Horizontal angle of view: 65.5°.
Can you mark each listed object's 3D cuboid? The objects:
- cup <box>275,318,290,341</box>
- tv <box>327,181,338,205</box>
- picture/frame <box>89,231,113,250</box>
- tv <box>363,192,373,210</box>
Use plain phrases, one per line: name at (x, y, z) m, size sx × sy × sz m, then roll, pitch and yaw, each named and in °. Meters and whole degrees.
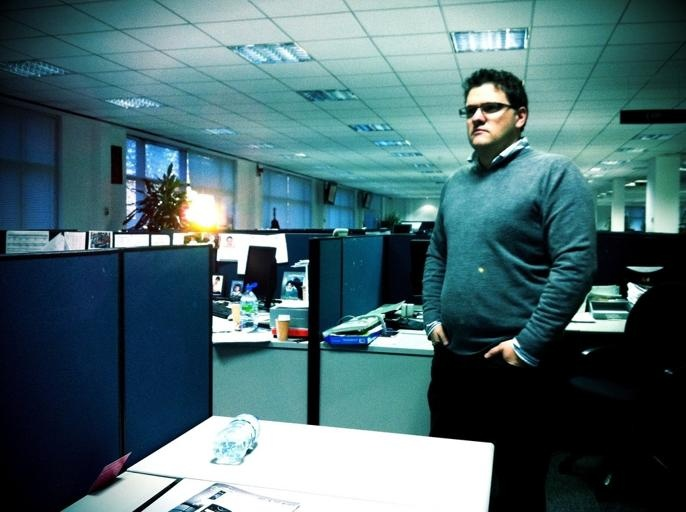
cup at (-0.316, 0.385, 2.813) m, size 0.110 × 0.107 × 0.102 m, roll 0°, pitch -6°, yaw 0°
tv at (-0.333, -1.928, 16.107) m, size 0.391 × 0.672 × 0.632 m, roll 1°, pitch 13°, yaw 7°
picture/frame at (-1.748, -0.113, 3.857) m, size 0.200 × 0.208 × 0.023 m, roll -3°, pitch 30°, yaw -25°
tv at (0.912, -2.082, 19.822) m, size 0.360 × 0.554 × 0.676 m, roll 2°, pitch -5°, yaw 10°
